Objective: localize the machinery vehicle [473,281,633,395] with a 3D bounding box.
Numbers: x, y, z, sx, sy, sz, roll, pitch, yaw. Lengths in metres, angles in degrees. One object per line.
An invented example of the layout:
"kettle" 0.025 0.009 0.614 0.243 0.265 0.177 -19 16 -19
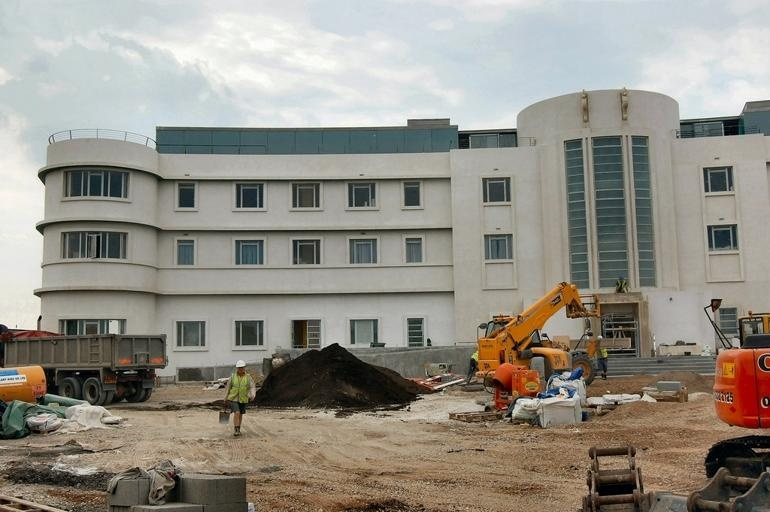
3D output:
"machinery vehicle" 7.304 3.568 44.915 6.087 4.349 3.568 -4 7 -23

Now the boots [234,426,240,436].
"boots" -5.587 6.519 36.134 0.149 0.301 0.316 0 -50 -7
